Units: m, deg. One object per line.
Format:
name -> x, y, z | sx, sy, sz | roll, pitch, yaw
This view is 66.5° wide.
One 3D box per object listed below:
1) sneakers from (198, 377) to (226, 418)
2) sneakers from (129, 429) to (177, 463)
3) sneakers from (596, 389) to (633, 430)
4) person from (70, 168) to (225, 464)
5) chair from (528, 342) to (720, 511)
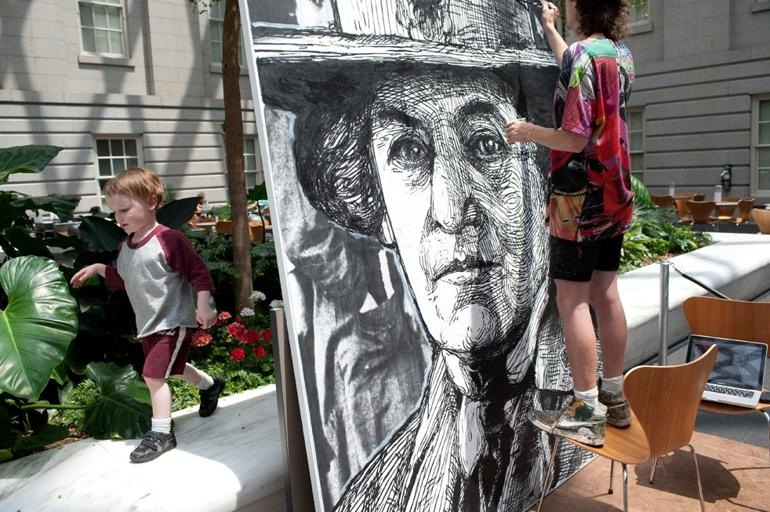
sneakers -> -1.150, 0.899, 3.873 | 0.099, 0.298, 0.128 | 10, -4, 39
sneakers -> -1.309, 1.062, 3.349 | 0.112, 0.166, 0.325 | 2, 4, 22
sneakers -> 1.340, 0.908, 3.551 | 0.302, 0.226, 0.110 | 10, 2, -34
person -> -1.284, 0.286, 3.431 | 0.514, 1.586, 0.544 | -7, 11, -25
chair -> 1.433, 1.080, 3.613 | 0.818, 1.300, 0.822 | -8, 12, -33
